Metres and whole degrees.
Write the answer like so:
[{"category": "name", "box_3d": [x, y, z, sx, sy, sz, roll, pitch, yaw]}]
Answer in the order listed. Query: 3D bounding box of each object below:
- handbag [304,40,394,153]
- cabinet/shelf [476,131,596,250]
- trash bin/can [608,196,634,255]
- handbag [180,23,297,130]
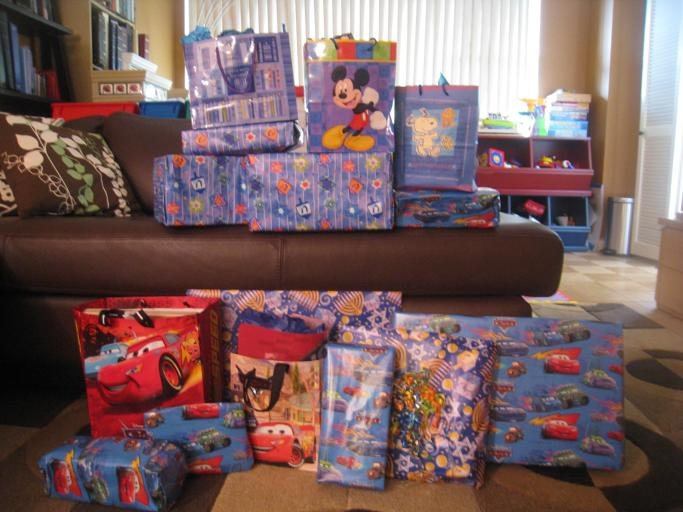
[{"category": "handbag", "box_3d": [0.031, -0.588, 2.171, 0.384, 0.535, 0.331, 0, 6, 0]}, {"category": "cabinet/shelf", "box_3d": [1.470, -0.510, 4.158, 0.961, 0.943, 0.326, 4, -7, 0]}, {"category": "trash bin/can", "box_3d": [2.310, -0.252, 4.684, 0.219, 0.469, 0.135, 10, 15, 29]}, {"category": "handbag", "box_3d": [-0.331, -0.599, 2.189, 0.535, 0.505, 0.306, -3, 7, 2]}]
